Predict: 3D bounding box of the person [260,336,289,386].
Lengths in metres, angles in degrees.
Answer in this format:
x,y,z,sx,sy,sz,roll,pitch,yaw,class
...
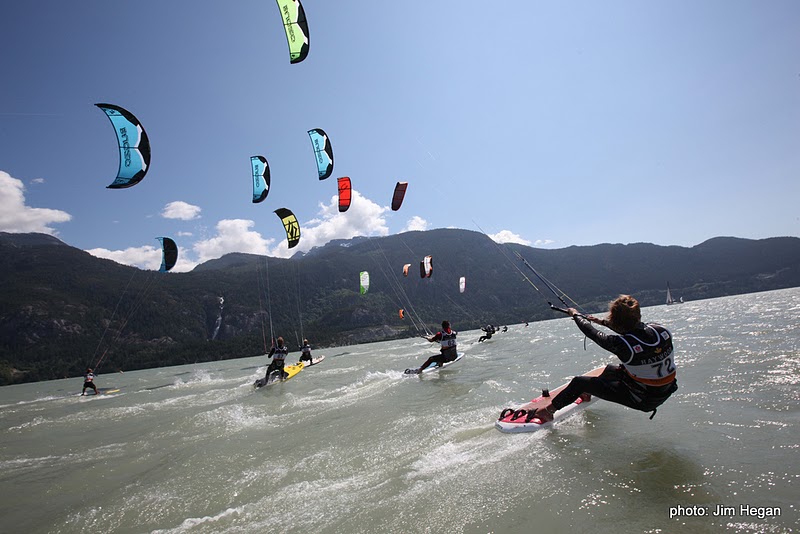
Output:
x,y,z,sx,sy,sz,roll,pitch,yaw,class
-4.798,3.699,18.209,0.917,1.954,0.713,7,9,-20,person

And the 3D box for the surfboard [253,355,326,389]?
x,y,z,sx,sy,sz,roll,pitch,yaw,class
-4.430,4.502,19.518,0.751,0.502,3.827,1,-2,14,surfboard

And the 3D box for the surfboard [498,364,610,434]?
x,y,z,sx,sy,sz,roll,pitch,yaw,class
3.325,3.039,10.078,0.979,0.525,4.237,3,10,42,surfboard

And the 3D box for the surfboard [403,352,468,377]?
x,y,z,sx,sy,sz,roll,pitch,yaw,class
1.639,3.752,17.533,0.746,0.567,3.871,3,3,41,surfboard
